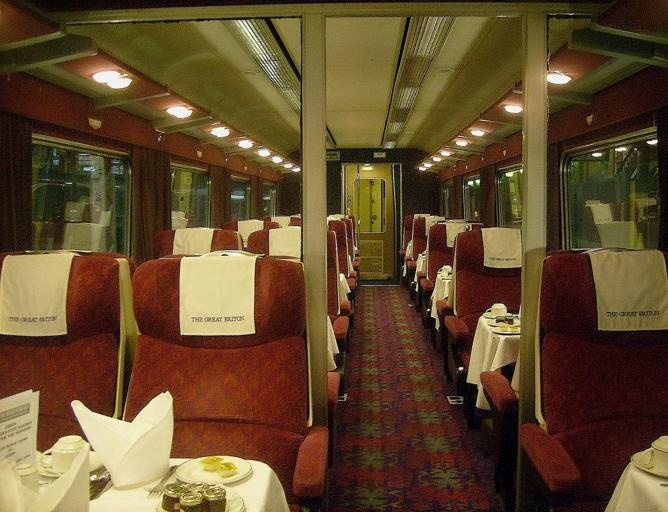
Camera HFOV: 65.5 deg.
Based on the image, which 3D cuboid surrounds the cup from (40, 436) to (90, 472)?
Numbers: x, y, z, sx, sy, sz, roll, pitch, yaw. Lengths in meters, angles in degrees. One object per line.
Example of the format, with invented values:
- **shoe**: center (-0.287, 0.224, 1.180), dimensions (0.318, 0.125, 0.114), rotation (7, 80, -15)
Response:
- **cup**: center (-1.070, 0.815, 2.129), dimensions (0.131, 0.130, 0.182), rotation (3, -1, 30)

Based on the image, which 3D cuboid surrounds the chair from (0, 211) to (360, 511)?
- **chair**: center (-0.722, 0.615, 2.821), dimensions (0.939, 1.450, 1.184), rotation (-1, -4, 1)
